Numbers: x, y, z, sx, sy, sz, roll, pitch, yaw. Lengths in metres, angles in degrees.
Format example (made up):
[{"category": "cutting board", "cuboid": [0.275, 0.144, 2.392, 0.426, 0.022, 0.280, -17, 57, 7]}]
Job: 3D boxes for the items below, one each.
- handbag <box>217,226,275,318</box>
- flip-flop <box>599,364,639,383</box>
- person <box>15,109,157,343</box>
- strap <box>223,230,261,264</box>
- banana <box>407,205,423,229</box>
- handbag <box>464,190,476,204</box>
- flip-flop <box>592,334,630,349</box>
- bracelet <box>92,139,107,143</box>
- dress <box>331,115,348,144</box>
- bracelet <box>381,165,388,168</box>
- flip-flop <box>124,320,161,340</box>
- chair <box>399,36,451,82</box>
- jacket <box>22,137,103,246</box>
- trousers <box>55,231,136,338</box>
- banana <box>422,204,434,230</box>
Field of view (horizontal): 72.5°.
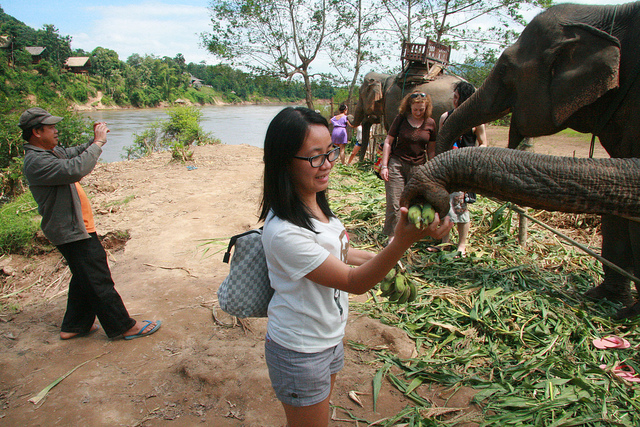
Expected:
[{"category": "handbag", "cuboid": [-0.535, 0.452, 3.189, 0.394, 0.643, 0.207, 0, 18, -13]}, {"category": "flip-flop", "cuboid": [2.817, 1.464, 3.973, 0.224, 0.057, 0.191, -9, 21, -36]}, {"category": "person", "cuboid": [-2.513, 0.222, 4.585, 0.820, 2.519, 1.114, -8, 21, -32]}, {"category": "strap", "cuboid": [-0.602, 0.254, 3.256, 0.269, 0.263, 0.248, -14, -27, 4]}, {"category": "banana", "cuboid": [0.644, 0.027, 2.952, 0.081, 0.073, 0.229, 34, 18, 1]}, {"category": "handbag", "cuboid": [1.785, -0.196, 5.199, 0.093, 0.075, 0.139, 18, 24, 12]}, {"category": "flip-flop", "cuboid": [2.829, 1.248, 4.225, 0.241, 0.054, 0.135, -4, 27, 19]}, {"category": "bracelet", "cuboid": [-2.297, -0.756, 4.538, 0.105, 0.024, 0.107, -1, 5, -40]}, {"category": "dress", "cuboid": [0.479, -1.976, 10.283, 0.329, 0.669, 0.586, 4, 17, 0]}, {"category": "bracelet", "cuboid": [0.871, -0.622, 5.780, 0.090, 0.037, 0.043, -3, 18, -22]}, {"category": "flip-flop", "cuboid": [-1.902, 1.262, 4.696, 0.322, 0.074, 0.161, -12, 20, -16]}, {"category": "chair", "cuboid": [2.239, -3.091, 8.736, 0.560, 0.613, 0.751, 11, 25, 4]}, {"category": "jacket", "cuboid": [-2.574, -0.190, 4.404, 0.669, 0.973, 0.396, -2, 19, -19]}, {"category": "trousers", "cuboid": [-2.355, 0.797, 4.577, 0.780, 1.142, 0.295, 10, 19, 18]}, {"category": "banana", "cuboid": [0.752, 0.015, 2.995, 0.069, 0.068, 0.228, -22, 10, 20]}]
